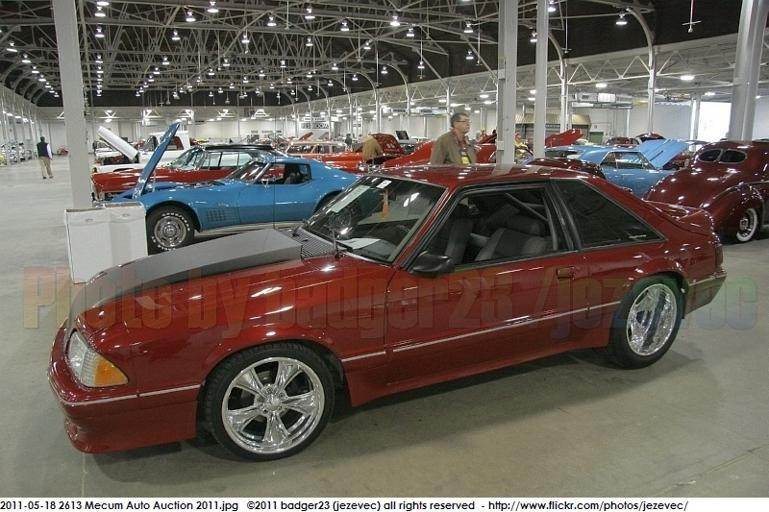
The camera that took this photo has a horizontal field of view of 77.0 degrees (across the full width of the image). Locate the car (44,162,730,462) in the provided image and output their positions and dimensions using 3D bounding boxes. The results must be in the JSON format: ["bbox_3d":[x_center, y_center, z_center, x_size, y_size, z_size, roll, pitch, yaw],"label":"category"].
[{"bbox_3d":[0.388,0.228,4.352,5.900,2.038,1.860,-8,16,-25],"label":"car"}]

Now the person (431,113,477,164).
[{"bbox_3d":[1.091,-1.815,7.270,0.709,0.749,0.484,-10,17,-26],"label":"person"}]

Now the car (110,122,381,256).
[{"bbox_3d":[-2.761,-1.229,9.372,5.263,1.188,2.113,-4,11,-17],"label":"car"}]

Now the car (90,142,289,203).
[{"bbox_3d":[-4.820,-2.119,12.171,4.666,1.100,1.703,-3,10,-19],"label":"car"}]

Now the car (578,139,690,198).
[{"bbox_3d":[6.825,-2.578,13.564,2.868,1.004,1.280,1,14,12],"label":"car"}]
